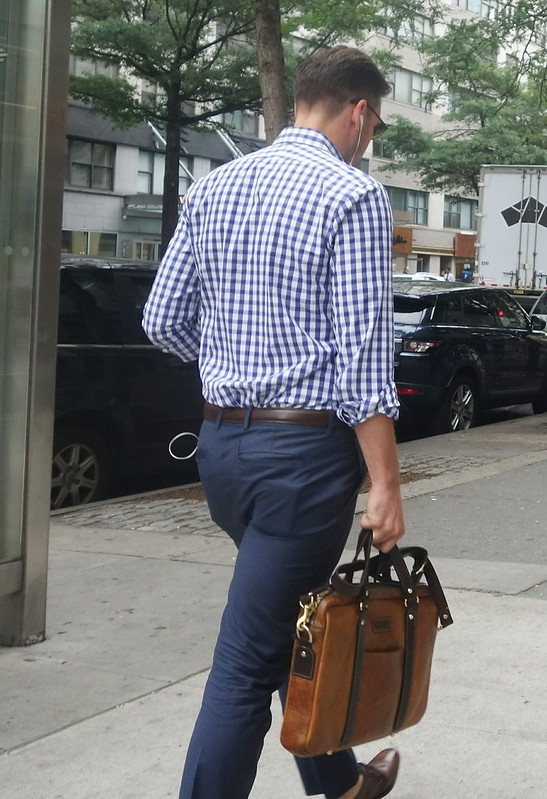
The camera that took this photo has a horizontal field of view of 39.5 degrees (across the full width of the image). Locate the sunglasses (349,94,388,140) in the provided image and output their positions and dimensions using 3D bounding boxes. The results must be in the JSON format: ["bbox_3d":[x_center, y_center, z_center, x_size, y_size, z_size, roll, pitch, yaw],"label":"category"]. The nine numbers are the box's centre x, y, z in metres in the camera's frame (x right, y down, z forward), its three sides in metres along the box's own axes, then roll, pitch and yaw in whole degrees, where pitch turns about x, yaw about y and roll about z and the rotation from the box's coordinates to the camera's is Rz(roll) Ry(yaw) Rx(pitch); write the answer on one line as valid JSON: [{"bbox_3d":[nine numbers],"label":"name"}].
[{"bbox_3d":[0.240,-0.648,1.781,0.035,0.115,0.111,10,2,-42],"label":"sunglasses"}]

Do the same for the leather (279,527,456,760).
[{"bbox_3d":[0.188,0.460,1.464,0.110,0.411,0.427,2,5,43],"label":"leather"}]

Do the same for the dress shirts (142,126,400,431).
[{"bbox_3d":[0.019,-0.269,1.570,0.523,0.625,0.240,2,5,40],"label":"dress shirts"}]

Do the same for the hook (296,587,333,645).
[{"bbox_3d":[0.072,0.382,1.350,0.064,0.082,0.060,-2,4,3],"label":"hook"}]
